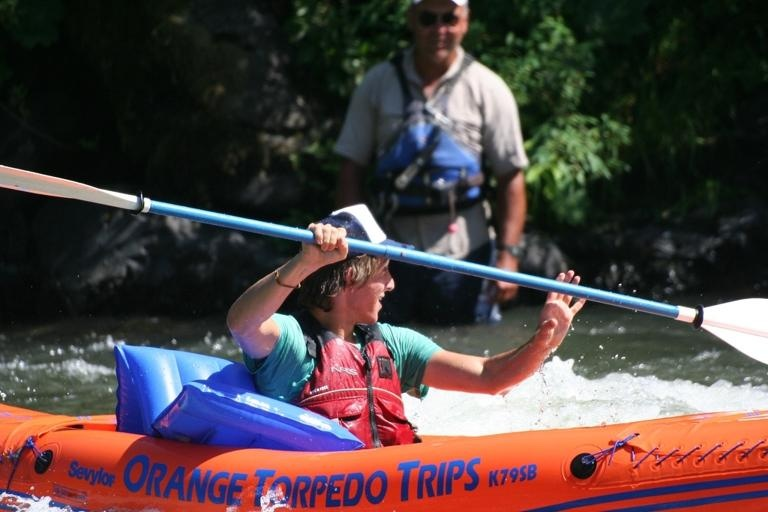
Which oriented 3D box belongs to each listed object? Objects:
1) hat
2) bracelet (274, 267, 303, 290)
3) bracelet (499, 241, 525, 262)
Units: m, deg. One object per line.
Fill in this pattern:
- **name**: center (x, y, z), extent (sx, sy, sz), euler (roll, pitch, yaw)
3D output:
- **hat**: center (-0.138, -0.185, 8.215), extent (0.446, 0.224, 0.323), euler (6, 8, -13)
- **bracelet**: center (-0.604, 0.148, 7.958), extent (0.204, 0.149, 0.102), euler (-10, 22, -35)
- **bracelet**: center (0.985, -0.034, 9.917), extent (0.170, 0.121, 0.170), euler (8, 7, 4)
